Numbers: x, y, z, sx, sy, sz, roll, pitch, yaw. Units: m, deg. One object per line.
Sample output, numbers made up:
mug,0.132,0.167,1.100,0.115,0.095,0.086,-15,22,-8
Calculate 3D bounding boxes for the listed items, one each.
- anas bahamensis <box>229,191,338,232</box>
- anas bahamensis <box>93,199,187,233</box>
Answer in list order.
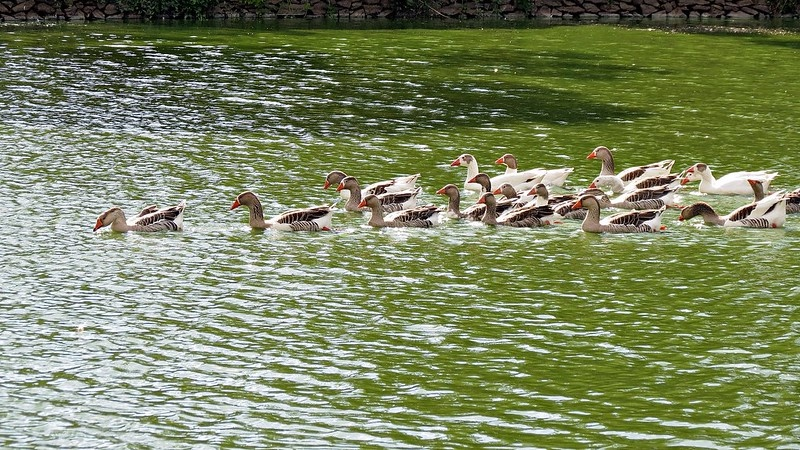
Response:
anas bahamensis,-2.794,-0.338,30.606,2.363,0.905,0.611,2,19,0
anas bahamensis,-6.271,-0.144,30.439,0.984,0.735,2.580,18,25,40
